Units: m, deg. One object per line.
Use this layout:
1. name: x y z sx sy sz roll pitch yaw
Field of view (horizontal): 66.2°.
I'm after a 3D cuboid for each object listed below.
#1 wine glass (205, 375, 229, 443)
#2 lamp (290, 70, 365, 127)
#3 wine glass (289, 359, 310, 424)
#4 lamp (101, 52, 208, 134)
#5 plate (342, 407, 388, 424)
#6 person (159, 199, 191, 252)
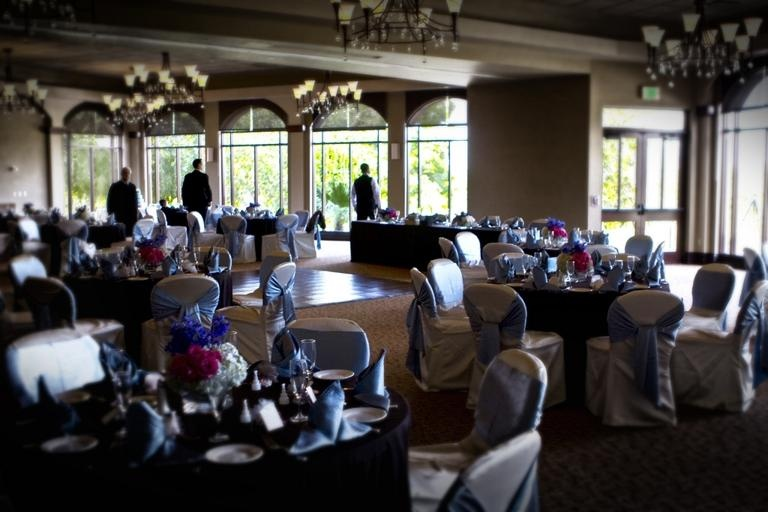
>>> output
1. wine glass: -0.844 0.735 3.004 0.095 0.291 0.267 -2 10 -12
2. lamp: -1.529 -3.895 14.659 1.623 0.881 1.606 -9 11 -38
3. wine glass: -0.461 0.691 3.182 0.097 0.278 0.328 -2 10 -9
4. lamp: -5.884 -4.240 15.174 1.568 1.067 1.710 -4 6 -33
5. plate: -0.096 0.838 3.146 0.234 0.027 0.167 0 10 -2
6. person: -4.592 -0.623 12.538 0.636 1.010 0.673 -5 0 6
